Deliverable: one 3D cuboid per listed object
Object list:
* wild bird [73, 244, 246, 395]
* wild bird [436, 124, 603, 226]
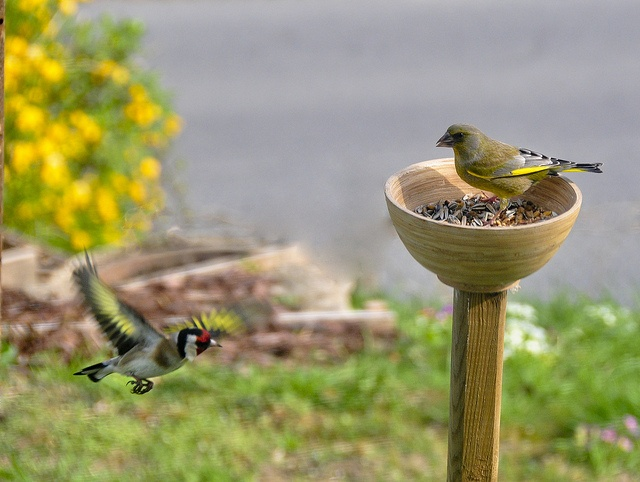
[{"bbox_3d":[-1.097,0.498,5.621,0.867,0.997,1.079,-19,15,-14],"label":"wild bird"},{"bbox_3d":[1.162,-0.421,4.962,1.248,0.559,0.377,2,9,4],"label":"wild bird"}]
